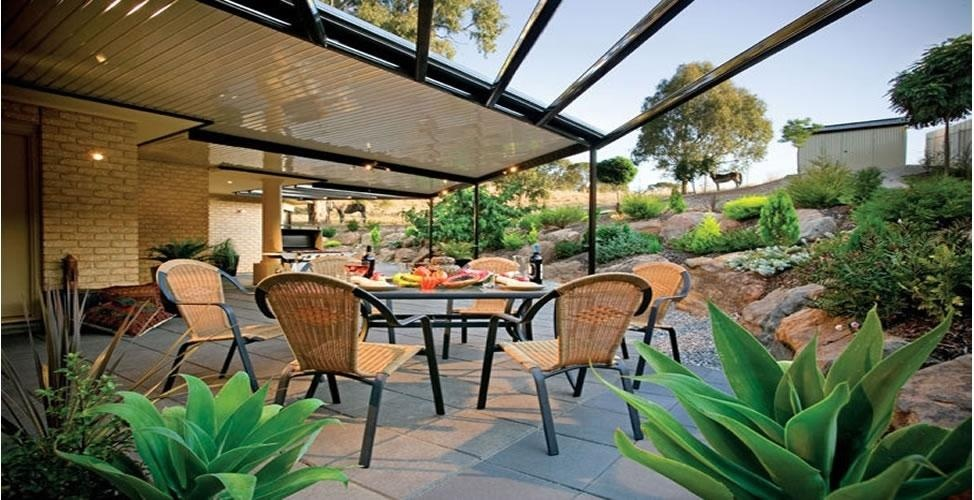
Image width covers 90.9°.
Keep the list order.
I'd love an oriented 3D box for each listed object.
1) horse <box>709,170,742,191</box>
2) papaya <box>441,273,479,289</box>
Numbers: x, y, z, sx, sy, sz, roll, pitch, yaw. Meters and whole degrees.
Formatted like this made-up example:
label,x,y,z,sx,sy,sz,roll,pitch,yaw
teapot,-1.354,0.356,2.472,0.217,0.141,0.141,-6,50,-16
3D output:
label,x,y,z,sx,sy,sz,roll,pitch,yaw
horse,8.633,-2.539,17.461,0.887,0.689,1.189,1,4,31
papaya,-0.287,0.333,5.104,0.332,0.135,0.221,-4,5,-37
